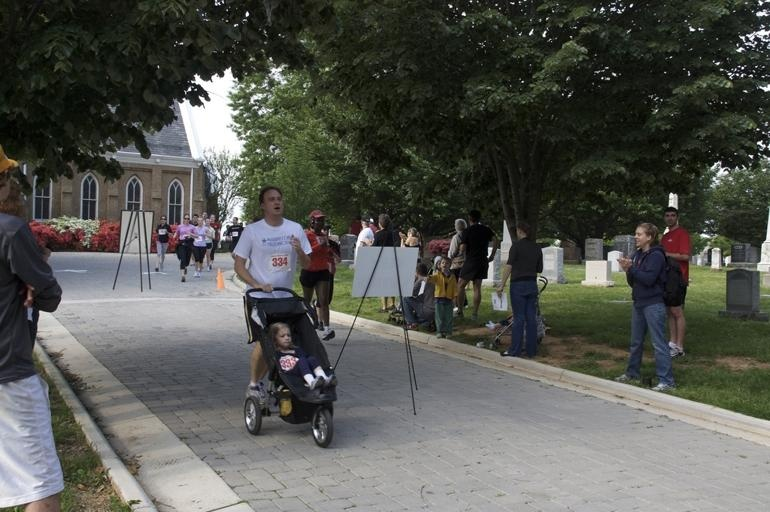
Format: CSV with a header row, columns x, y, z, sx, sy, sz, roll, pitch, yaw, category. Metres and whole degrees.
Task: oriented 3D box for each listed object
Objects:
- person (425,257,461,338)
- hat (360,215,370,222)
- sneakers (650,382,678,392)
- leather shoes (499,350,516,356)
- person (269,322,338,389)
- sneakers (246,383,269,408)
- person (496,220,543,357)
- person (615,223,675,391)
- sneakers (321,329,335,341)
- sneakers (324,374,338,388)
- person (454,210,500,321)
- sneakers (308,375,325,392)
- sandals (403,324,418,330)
x,y,z,sx,sy,sz,roll,pitch,yaw,category
1.197,0.869,14.396,0.558,1.594,0.665,1,5,4,person
-0.502,-0.979,17.849,0.238,0.269,0.270,0,-3,-8,hat
4.277,2.007,10.524,0.409,0.181,0.139,5,-8,-5,sneakers
2.259,1.796,12.558,0.275,0.107,0.098,7,1,43,leather shoes
-1.016,1.166,8.633,0.435,0.690,1.179,-19,21,-31,person
-1.587,1.746,8.672,0.364,0.166,0.177,0,-5,44,sneakers
2.526,0.620,12.626,0.679,2.388,0.960,1,5,12,person
4.207,0.751,10.943,0.834,2.500,1.184,2,5,17,person
-1.108,1.549,13.547,0.146,0.165,0.352,2,-12,-29,sneakers
-0.644,1.514,8.389,0.116,0.174,0.353,1,4,2,sneakers
2.157,0.206,15.998,0.862,2.495,0.680,4,-1,-1,person
-0.816,1.541,8.276,0.094,0.247,0.103,28,22,-34,sneakers
0.637,1.561,15.204,0.339,0.144,0.167,-3,5,-39,sandals
